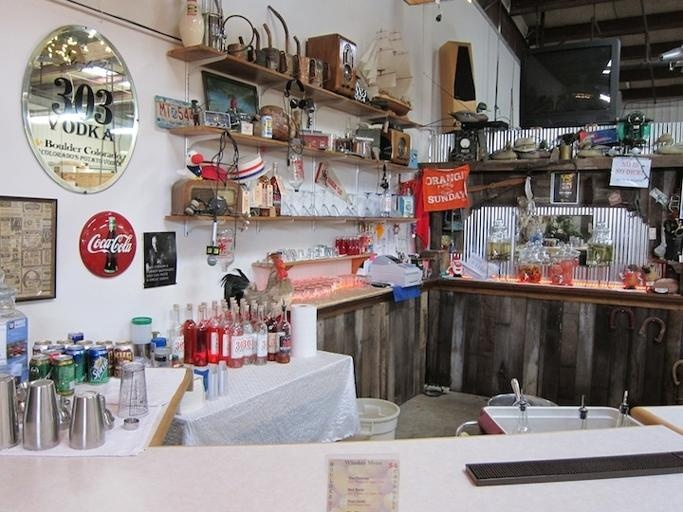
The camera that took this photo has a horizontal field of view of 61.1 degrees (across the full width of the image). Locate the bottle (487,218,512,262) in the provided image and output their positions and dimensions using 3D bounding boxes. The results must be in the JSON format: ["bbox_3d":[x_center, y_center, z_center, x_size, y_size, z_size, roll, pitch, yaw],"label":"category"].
[{"bbox_3d":[1.733,-0.177,6.386,0.264,0.477,0.333,-2,2,16],"label":"bottle"}]

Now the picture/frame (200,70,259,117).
[{"bbox_3d":[-0.812,-1.206,4.368,0.100,0.204,0.595,-1,3,30],"label":"picture/frame"}]

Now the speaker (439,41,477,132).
[{"bbox_3d":[1.467,-2.191,7.351,0.468,1.010,0.382,-2,2,3],"label":"speaker"}]

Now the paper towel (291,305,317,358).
[{"bbox_3d":[-0.263,0.526,4.011,0.169,0.364,0.113,-3,2,-10],"label":"paper towel"}]

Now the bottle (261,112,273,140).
[{"bbox_3d":[-0.547,-0.947,4.245,0.083,0.184,0.047,-4,2,-34],"label":"bottle"}]

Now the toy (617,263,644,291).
[{"bbox_3d":[2.859,0.208,5.795,0.206,0.341,0.247,8,-6,-44],"label":"toy"}]

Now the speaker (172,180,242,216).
[{"bbox_3d":[-0.879,-0.378,4.077,0.370,0.244,0.219,1,-19,-7],"label":"speaker"}]

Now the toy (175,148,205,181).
[{"bbox_3d":[-1.016,-0.611,3.998,0.163,0.212,0.254,5,8,35],"label":"toy"}]

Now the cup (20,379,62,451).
[{"bbox_3d":[-1.251,0.667,2.412,0.137,0.256,0.096,-4,2,-31],"label":"cup"}]

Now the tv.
[{"bbox_3d":[2.605,-1.981,6.589,1.047,0.940,0.616,5,26,32],"label":"tv"}]

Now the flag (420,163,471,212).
[{"bbox_3d":[1.164,-0.755,6.452,0.500,0.529,0.079,0,5,16],"label":"flag"}]

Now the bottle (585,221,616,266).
[{"bbox_3d":[2.610,-0.104,5.889,0.245,0.413,0.174,-3,2,-1],"label":"bottle"}]

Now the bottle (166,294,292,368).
[{"bbox_3d":[-0.742,0.516,3.817,0.412,0.418,0.433,0,1,-1],"label":"bottle"}]

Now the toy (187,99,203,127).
[{"bbox_3d":[-1.005,-0.992,4.006,0.079,0.223,0.244,-3,2,-14],"label":"toy"}]

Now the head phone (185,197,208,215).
[{"bbox_3d":[-0.980,-0.330,3.919,0.065,0.097,0.204,7,8,2],"label":"head phone"}]

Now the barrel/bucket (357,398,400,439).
[{"bbox_3d":[0.270,1.259,4.461,0.288,0.241,0.321,-1,-3,35],"label":"barrel/bucket"}]

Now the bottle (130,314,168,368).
[{"bbox_3d":[-1.189,0.531,3.554,0.246,0.365,0.177,1,1,-12],"label":"bottle"}]

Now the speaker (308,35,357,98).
[{"bbox_3d":[-0.062,-1.676,5.179,0.296,0.503,0.517,2,10,18],"label":"speaker"}]

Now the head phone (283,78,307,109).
[{"bbox_3d":[-0.369,-1.300,4.622,0.079,0.226,0.222,-4,5,26],"label":"head phone"}]

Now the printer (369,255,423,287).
[{"bbox_3d":[0.549,0.156,5.649,0.565,0.314,0.370,-3,2,-17],"label":"printer"}]

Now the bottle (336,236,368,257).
[{"bbox_3d":[0.112,-0.093,5.685,0.113,0.186,0.495,-1,3,37],"label":"bottle"}]

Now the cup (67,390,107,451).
[{"bbox_3d":[-1.094,0.691,2.483,0.133,0.227,0.218,-1,1,-35],"label":"cup"}]

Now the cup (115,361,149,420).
[{"bbox_3d":[-0.989,0.640,2.754,0.148,0.242,0.154,2,-2,0],"label":"cup"}]

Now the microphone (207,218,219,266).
[{"bbox_3d":[-0.878,-0.089,3.987,0.089,0.317,0.027,4,5,-11],"label":"microphone"}]

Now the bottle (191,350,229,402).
[{"bbox_3d":[-0.752,0.716,3.390,0.213,0.276,0.191,-1,2,-5],"label":"bottle"}]

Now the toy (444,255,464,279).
[{"bbox_3d":[1.249,0.134,6.446,0.173,0.241,0.100,-16,-12,-7],"label":"toy"}]
